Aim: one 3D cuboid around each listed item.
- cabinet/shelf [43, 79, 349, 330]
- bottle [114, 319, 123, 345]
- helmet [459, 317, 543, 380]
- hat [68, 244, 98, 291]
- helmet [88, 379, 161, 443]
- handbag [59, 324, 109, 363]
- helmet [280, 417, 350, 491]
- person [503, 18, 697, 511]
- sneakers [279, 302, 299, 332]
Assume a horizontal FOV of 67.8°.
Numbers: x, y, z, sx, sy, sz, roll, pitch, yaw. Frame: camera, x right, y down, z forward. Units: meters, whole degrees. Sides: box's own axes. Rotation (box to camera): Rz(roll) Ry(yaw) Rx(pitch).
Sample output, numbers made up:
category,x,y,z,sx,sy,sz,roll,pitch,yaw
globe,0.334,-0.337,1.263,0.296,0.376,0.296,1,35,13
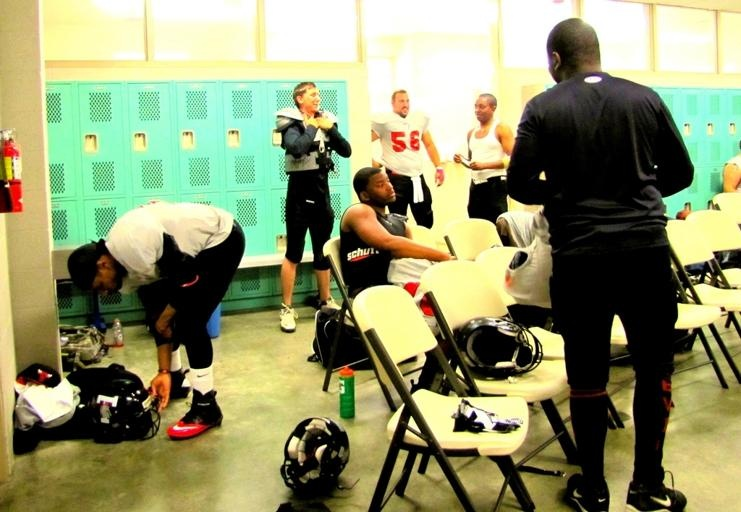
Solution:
category,x,y,z,sx,sy,sz,roll,pitch,yaw
cabinet/shelf,-1.827,-0.606,5.453,3.235,2.303,0.967,-3,7,-20
bottle,-2.580,0.782,5.599,0.063,0.202,0.087,-6,-8,-32
helmet,0.666,0.496,2.881,0.438,0.285,0.224,-3,8,7
hat,-1.736,0.070,3.338,0.172,0.260,0.162,-9,14,-27
helmet,-1.634,1.011,3.734,0.470,0.332,0.341,0,10,-33
handbag,-2.725,0.832,5.071,0.465,0.141,0.323,9,24,11
helmet,-0.304,1.093,3.174,0.457,0.339,0.324,-6,0,-26
person,1.102,0.215,2.624,0.835,2.144,0.567,0,14,13
sneakers,-0.885,0.652,5.832,0.169,0.246,0.301,-5,12,-9
